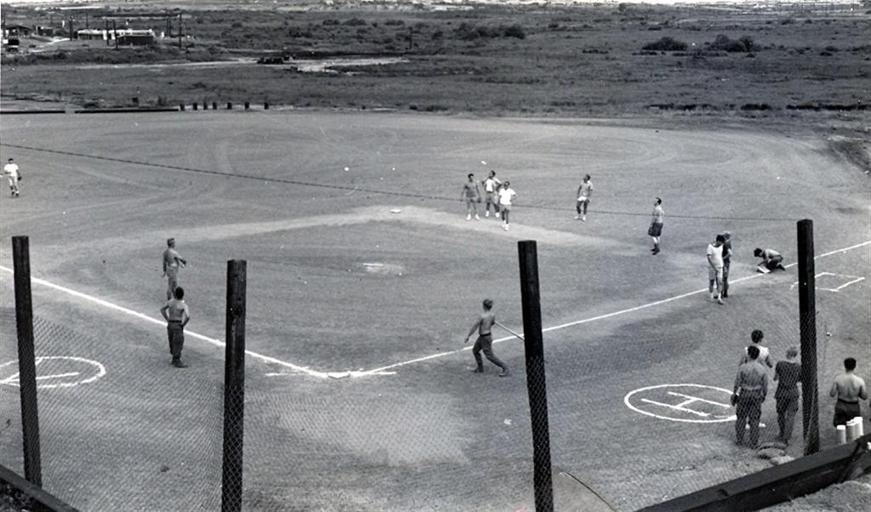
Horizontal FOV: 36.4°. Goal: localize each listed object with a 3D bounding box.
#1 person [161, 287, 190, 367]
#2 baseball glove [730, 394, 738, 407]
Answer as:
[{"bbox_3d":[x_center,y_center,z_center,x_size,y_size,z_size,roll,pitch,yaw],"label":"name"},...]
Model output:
[{"bbox_3d":[-12.247,3.229,62.672,1.178,3.815,1.280,4,0,-13],"label":"person"},{"bbox_3d":[13.282,6.326,58.825,0.341,0.431,0.438,-1,-6,4],"label":"baseball glove"}]
